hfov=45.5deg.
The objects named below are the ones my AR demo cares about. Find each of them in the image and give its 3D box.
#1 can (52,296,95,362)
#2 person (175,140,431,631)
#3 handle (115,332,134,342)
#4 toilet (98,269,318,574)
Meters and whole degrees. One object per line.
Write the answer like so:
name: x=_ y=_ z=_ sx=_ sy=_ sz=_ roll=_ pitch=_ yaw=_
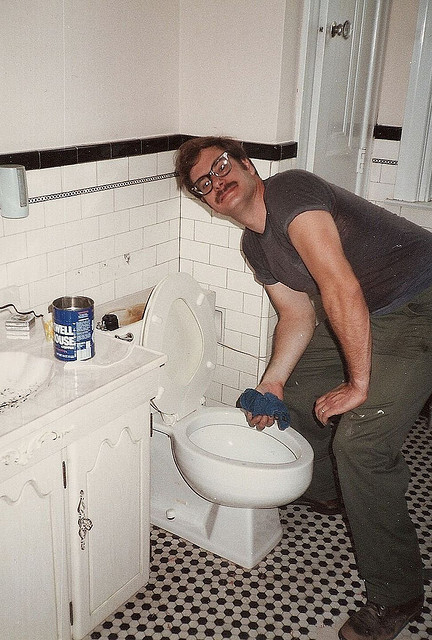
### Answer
can: x=-0.318 y=0.027 z=1.144 sx=0.109 sy=0.121 sz=0.105 roll=9 pitch=20 yaw=24
person: x=0.287 y=0.152 z=1.478 sx=0.602 sy=1.267 sz=0.679 roll=-4 pitch=14 yaw=-26
handle: x=-0.270 y=0.054 z=1.540 sx=0.024 sy=0.024 sz=0.043 roll=7 pitch=4 yaw=34
toilet: x=-0.027 y=0.327 z=1.599 sx=0.704 sy=0.757 sz=0.388 roll=11 pitch=16 yaw=36
